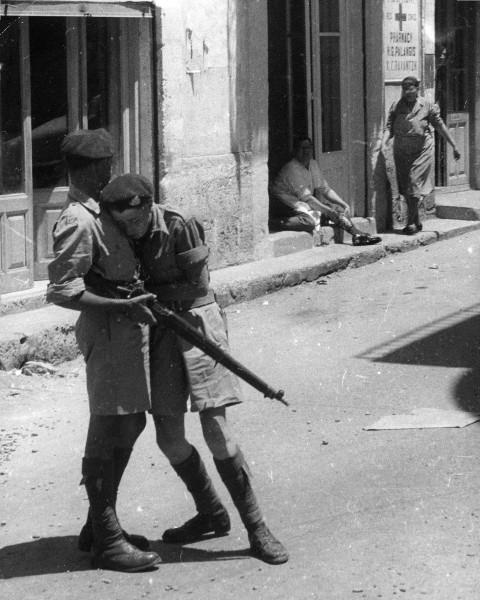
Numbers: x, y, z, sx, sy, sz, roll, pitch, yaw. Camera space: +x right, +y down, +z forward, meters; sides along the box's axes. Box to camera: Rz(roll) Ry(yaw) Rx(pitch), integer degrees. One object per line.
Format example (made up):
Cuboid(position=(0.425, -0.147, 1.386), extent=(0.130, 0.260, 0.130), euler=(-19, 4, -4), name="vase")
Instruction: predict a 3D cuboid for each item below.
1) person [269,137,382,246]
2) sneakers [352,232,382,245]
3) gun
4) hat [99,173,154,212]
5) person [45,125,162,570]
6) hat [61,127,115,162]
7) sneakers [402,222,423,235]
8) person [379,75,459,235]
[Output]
Cuboid(position=(0.915, -1.121, 11.614), extent=(1.204, 1.002, 0.833), euler=(12, 18, 12), name="person")
Cuboid(position=(1.328, -0.660, 11.822), extent=(0.353, 0.145, 0.121), euler=(-3, 14, -13), name="sneakers")
Cuboid(position=(-0.179, 0.154, 4.133), extent=(0.095, 0.898, 0.189), euler=(-44, 18, 43), name="gun")
Cuboid(position=(-0.412, -0.396, 4.087), extent=(0.192, 0.120, 0.190), euler=(-2, 10, -5), name="hat")
Cuboid(position=(-0.506, 0.188, 4.176), extent=(0.377, 1.617, 0.380), euler=(-2, 9, -6), name="person")
Cuboid(position=(-0.567, -0.575, 4.161), extent=(0.113, 0.075, 0.159), euler=(-7, 11, -37), name="hat")
Cuboid(position=(1.972, -0.814, 12.796), extent=(0.092, 0.181, 0.326), euler=(10, 14, 30), name="sneakers")
Cuboid(position=(2.039, -1.666, 12.838), extent=(0.672, 1.752, 0.697), euler=(6, 12, 39), name="person")
